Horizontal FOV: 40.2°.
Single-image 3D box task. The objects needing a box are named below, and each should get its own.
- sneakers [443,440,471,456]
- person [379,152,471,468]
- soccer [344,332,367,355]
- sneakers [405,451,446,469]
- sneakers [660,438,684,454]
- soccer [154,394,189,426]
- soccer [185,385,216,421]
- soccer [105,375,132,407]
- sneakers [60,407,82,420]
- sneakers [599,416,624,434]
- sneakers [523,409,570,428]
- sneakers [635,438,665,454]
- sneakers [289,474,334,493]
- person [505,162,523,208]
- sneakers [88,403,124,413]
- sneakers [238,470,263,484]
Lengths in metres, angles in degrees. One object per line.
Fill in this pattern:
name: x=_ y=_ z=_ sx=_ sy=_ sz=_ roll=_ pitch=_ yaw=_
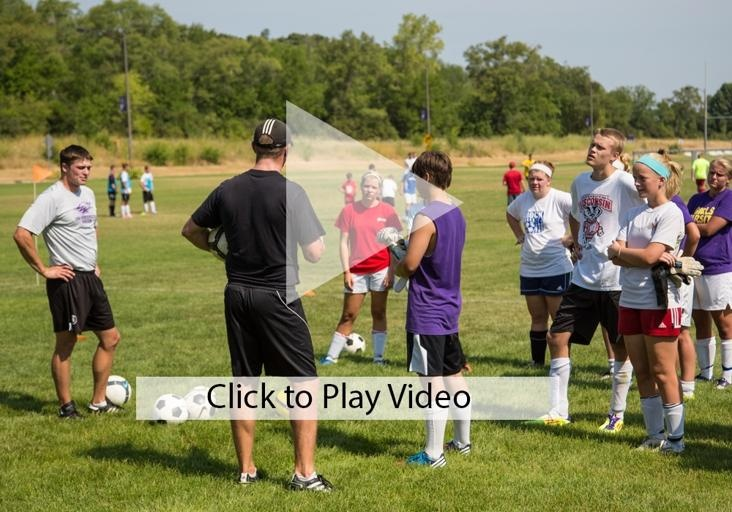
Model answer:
sneakers: x=1.233 y=2.567 z=13.424 sx=0.373 sy=0.153 sz=0.137 roll=4 pitch=3 yaw=30
person: x=0.908 y=0.687 z=13.091 sx=1.009 sy=4.127 sz=0.468 roll=-2 pitch=4 yaw=-29
soccer: x=-0.204 y=1.471 z=16.944 sx=0.330 sy=0.323 sz=0.335 roll=-14 pitch=-19 yaw=38
sneakers: x=0.792 y=2.665 z=13.197 sx=0.544 sy=0.209 sz=0.196 roll=3 pitch=-2 yaw=11
sneakers: x=4.059 y=2.502 z=13.299 sx=0.299 sy=0.196 sz=0.179 roll=5 pitch=0 yaw=10
soccer: x=-2.771 y=2.184 z=14.244 sx=0.411 sy=0.393 sz=0.397 roll=-5 pitch=-16 yaw=-13
soccer: x=-2.385 y=2.104 z=14.348 sx=0.426 sy=0.471 sz=0.405 roll=-3 pitch=-19 yaw=-4
soccer: x=-3.625 y=1.939 z=14.756 sx=0.397 sy=0.383 sz=0.387 roll=16 pitch=40 yaw=-3
sneakers: x=-4.236 y=2.242 z=14.376 sx=0.306 sy=0.198 sz=0.153 roll=1 pitch=4 yaw=1
sneakers: x=3.397 y=2.329 z=13.840 sx=0.179 sy=0.146 sz=0.333 roll=-1 pitch=1 yaw=27
sneakers: x=2.535 y=2.275 z=14.075 sx=0.614 sy=0.233 sz=0.213 roll=2 pitch=-6 yaw=1
sneakers: x=3.792 y=2.527 z=13.380 sx=0.377 sy=0.154 sz=0.148 roll=1 pitch=-2 yaw=15
sneakers: x=-0.679 y=2.872 z=12.815 sx=0.594 sy=0.257 sz=0.209 roll=4 pitch=0 yaw=-5
person: x=4.711 y=-2.170 z=32.122 sx=0.625 sy=1.709 sz=0.515 roll=-4 pitch=24 yaw=2
sneakers: x=-3.793 y=2.213 z=14.653 sx=0.490 sy=0.199 sz=0.159 roll=0 pitch=6 yaw=-15
sneakers: x=-1.475 y=2.833 z=12.901 sx=0.131 sy=0.126 sz=0.303 roll=1 pitch=3 yaw=24
